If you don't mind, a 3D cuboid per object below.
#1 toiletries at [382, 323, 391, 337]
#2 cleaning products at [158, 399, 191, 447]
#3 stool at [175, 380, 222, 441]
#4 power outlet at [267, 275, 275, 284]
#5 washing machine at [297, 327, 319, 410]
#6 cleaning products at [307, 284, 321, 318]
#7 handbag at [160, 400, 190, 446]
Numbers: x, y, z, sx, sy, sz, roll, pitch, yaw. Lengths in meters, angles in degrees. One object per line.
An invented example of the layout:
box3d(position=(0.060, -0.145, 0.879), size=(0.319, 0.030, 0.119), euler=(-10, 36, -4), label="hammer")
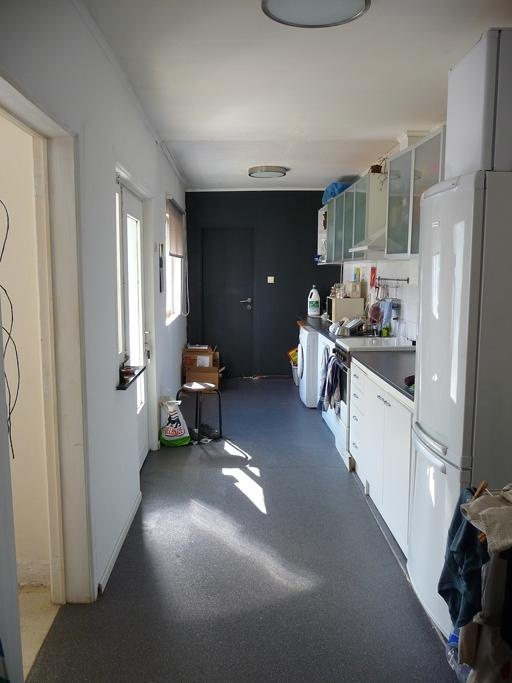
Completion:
box3d(position=(1.165, -0.101, 4.344), size=(0.069, 0.131, 0.091), euler=(2, 8, 17), label="toiletries")
box3d(position=(-0.679, 0.661, 4.036), size=(0.220, 0.413, 0.216), euler=(-9, 17, -38), label="cleaning products")
box3d(position=(-0.422, 0.627, 4.310), size=(0.364, 0.480, 0.421), euler=(-3, 1, -21), label="stool")
box3d(position=(0.198, -0.861, 6.731), size=(0.103, 0.102, 0.032), euler=(-1, 5, -12), label="power outlet")
box3d(position=(0.565, 0.296, 5.190), size=(0.230, 0.815, 0.676), euler=(0, 5, 1), label="washing machine")
box3d(position=(0.779, -0.556, 6.560), size=(0.186, 0.418, 0.480), euler=(1, 5, 6), label="cleaning products")
box3d(position=(-0.671, 0.645, 4.109), size=(0.268, 0.547, 0.297), euler=(-1, 1, -11), label="handbag")
